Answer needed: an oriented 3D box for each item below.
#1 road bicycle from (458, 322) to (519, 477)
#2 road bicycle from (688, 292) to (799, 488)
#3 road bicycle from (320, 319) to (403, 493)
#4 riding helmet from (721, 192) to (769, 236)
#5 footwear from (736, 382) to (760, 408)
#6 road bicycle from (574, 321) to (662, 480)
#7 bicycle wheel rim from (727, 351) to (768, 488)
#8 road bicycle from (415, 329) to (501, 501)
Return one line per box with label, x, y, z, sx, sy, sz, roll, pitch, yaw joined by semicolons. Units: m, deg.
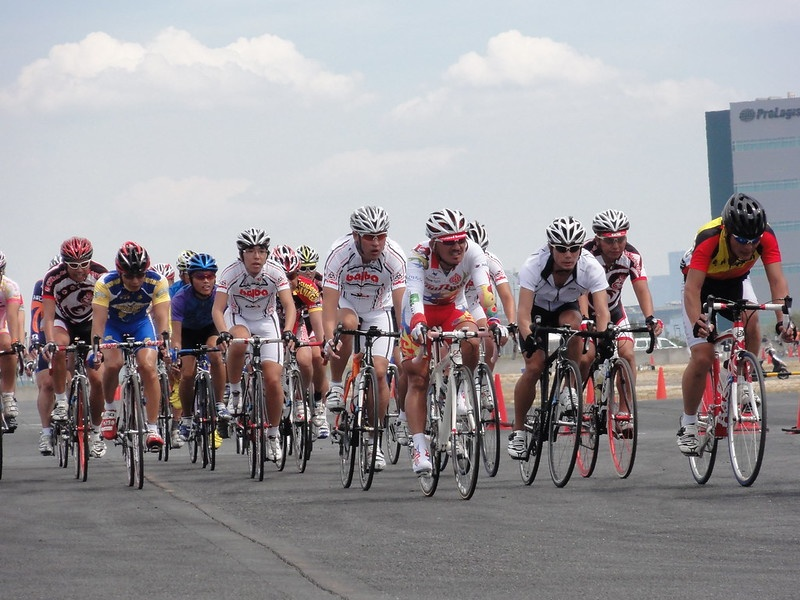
road bicycle;0.734;0.861;11.706;0.419;1.176;1.829;4;4;-4
road bicycle;3.164;0.903;12.098;0.610;1.782;2.804;3;-6;2
road bicycle;-0.373;1.083;12.340;0.529;1.644;1.019;-1;-1;-17
riding helmet;3.217;-0.814;11.526;0.413;0.316;0.628;-5;19;9
footwear;3.198;0.862;11.340;0.156;0.110;0.224;13;7;-24
road bicycle;2.040;0.948;12.669;0.695;1.482;2.359;0;2;-4
bicycle wheel rim;3.193;1.106;11.439;0.356;0.981;1.100;-1;0;16
road bicycle;0.434;0.987;11.879;0.941;1.508;2.513;-1;0;-9
